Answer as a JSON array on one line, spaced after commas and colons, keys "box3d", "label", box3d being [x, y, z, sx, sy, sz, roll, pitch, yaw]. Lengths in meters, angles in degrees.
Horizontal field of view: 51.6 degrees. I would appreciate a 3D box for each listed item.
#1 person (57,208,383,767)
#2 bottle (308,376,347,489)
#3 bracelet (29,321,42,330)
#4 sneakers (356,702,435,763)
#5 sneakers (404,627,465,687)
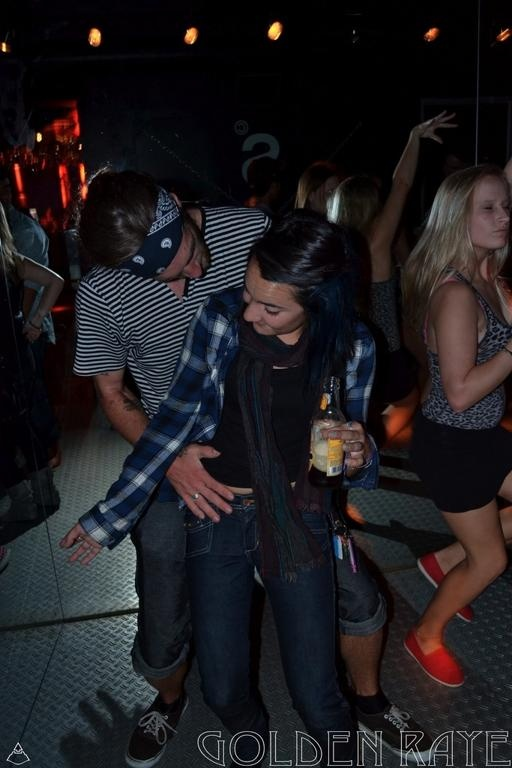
[{"box3d": [-0.039, 0.380, 1.316, 0.624, 1.521, 0.468, 1, 10, 18], "label": "person"}, {"box3d": [0.155, 0.108, 1.179, 0.077, 0.246, 0.110, -1, 9, 5], "label": "bottle"}, {"box3d": [-0.769, -0.207, 1.835, 0.027, 0.029, 0.046, -2, -9, -4], "label": "bracelet"}, {"box3d": [0.427, 1.045, 1.624, 0.253, 0.103, 0.100, 20, 25, 29], "label": "sneakers"}, {"box3d": [0.649, 1.004, 1.940, 0.093, 0.086, 0.212, -12, 19, -25], "label": "sneakers"}]
